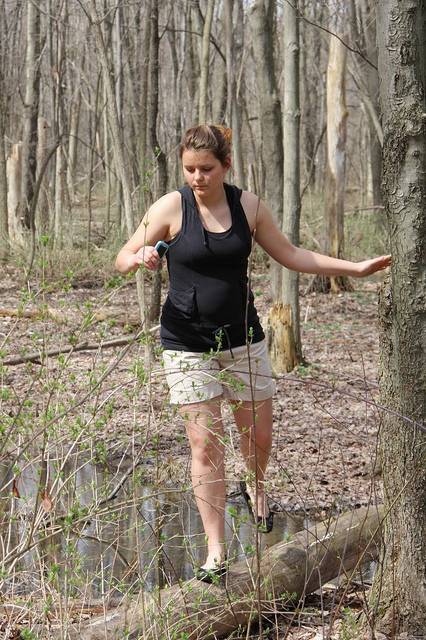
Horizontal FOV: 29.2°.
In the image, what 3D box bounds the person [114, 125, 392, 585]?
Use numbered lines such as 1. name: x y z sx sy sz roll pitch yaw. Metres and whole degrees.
1. person: 0.026 0.173 3.346 0.713 1.938 0.975 0 3 31
